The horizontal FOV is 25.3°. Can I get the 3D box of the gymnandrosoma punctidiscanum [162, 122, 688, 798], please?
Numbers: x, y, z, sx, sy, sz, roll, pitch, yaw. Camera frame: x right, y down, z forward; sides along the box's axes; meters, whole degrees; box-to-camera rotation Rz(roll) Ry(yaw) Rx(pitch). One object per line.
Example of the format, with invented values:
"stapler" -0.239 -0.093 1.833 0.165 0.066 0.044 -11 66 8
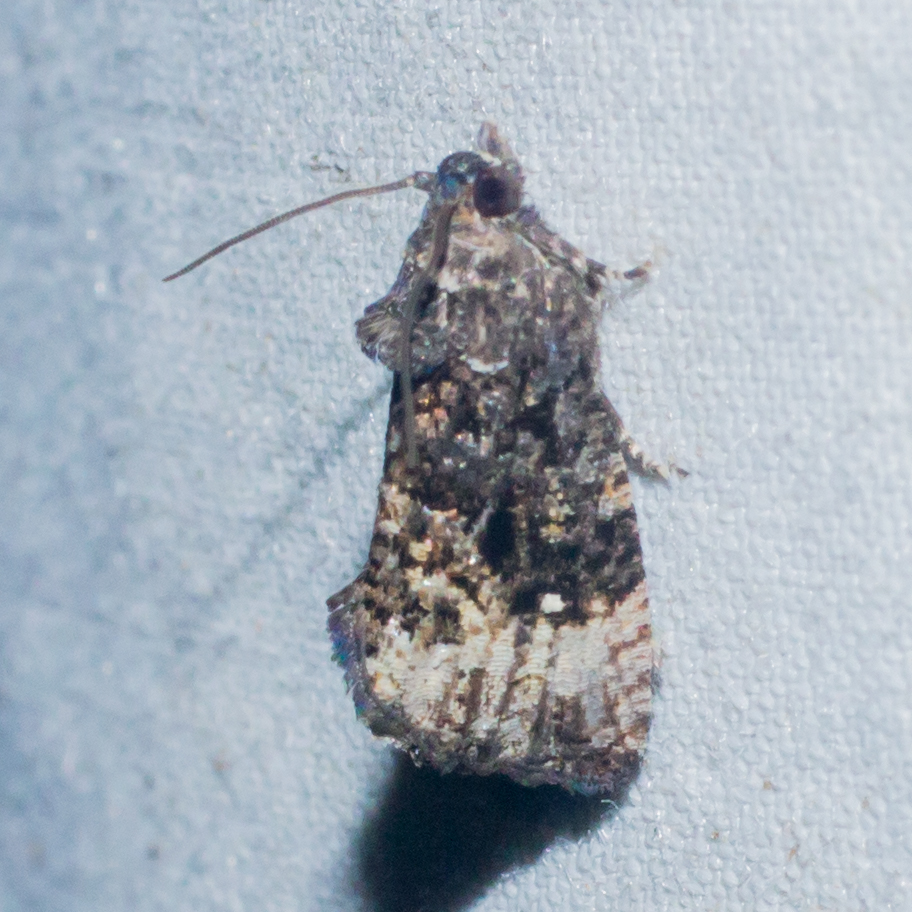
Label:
"gymnandrosoma punctidiscanum" -0.014 0.000 2.132 0.347 0.159 0.635 -1 100 8
